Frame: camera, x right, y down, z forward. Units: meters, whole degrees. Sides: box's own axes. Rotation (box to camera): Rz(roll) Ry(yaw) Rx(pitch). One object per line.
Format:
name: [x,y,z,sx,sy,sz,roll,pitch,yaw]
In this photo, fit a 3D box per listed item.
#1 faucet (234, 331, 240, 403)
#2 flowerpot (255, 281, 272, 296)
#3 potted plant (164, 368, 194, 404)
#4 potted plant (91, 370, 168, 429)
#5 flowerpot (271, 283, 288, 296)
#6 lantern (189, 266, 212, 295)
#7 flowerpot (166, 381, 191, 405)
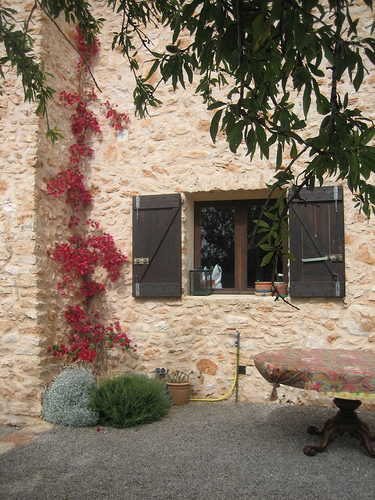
faucet: [0.473,1.100,4.614,0.061,0.641,0.187,-2,-2,6]
flowerpot: [0.752,0.366,4.915,0.189,0.134,0.185,0,-1,4]
potted plant: [-0.091,1.319,4.725,0.300,0.309,0.233,-2,-2,4]
potted plant: [-0.533,1.262,4.190,0.430,0.284,0.418,0,-2,-43]
flowerpot: [0.914,0.382,4.766,0.133,0.111,0.051,-2,-2,-16]
lantern: [0.132,0.321,5.047,0.266,0.402,0.251,0,1,13]
flowerpot: [-0.079,1.353,4.622,0.199,0.147,0.200,-1,-3,22]
